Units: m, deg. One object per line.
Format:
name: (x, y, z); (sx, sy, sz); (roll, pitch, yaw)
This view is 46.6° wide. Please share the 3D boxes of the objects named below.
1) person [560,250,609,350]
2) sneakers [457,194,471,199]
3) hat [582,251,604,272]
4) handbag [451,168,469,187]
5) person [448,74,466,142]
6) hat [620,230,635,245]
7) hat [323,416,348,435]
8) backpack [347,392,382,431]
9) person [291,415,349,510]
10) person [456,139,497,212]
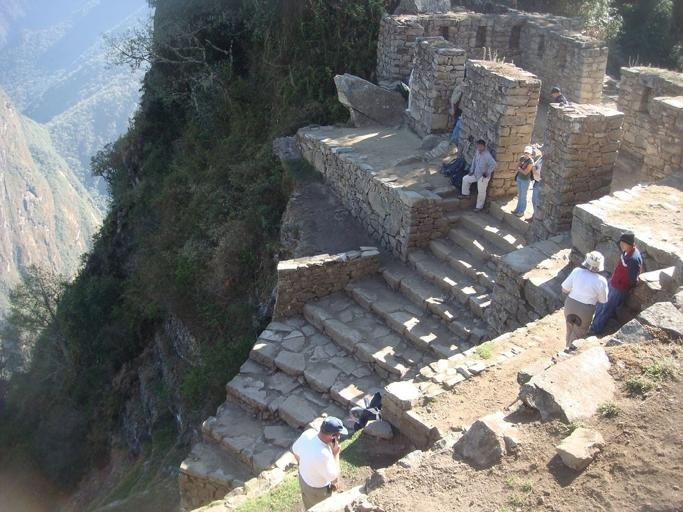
person: (4.964, 0.865, 16.324); (1.013, 1.804, 0.750); (-25, 40, -25)
sneakers: (3.189, -1.591, 20.594); (0.260, 0.124, 0.122); (6, 38, 5)
hat: (5.132, 0.103, 16.123); (0.419, 0.392, 0.264); (-3, 36, 3)
handbag: (3.087, -2.102, 20.842); (0.439, 0.149, 0.420); (-57, 35, 1)
person: (3.230, -4.073, 22.229); (0.502, 1.546, 1.066); (7, 9, 14)
hat: (5.789, -0.386, 16.041); (0.238, 0.255, 0.252); (8, 17, 21)
hat: (-0.153, 3.270, 15.307); (0.460, 0.265, 0.334); (-3, 19, -22)
backpack: (0.533, 3.314, 16.928); (0.770, 0.300, 0.702); (-46, 9, 7)
person: (-0.423, 4.079, 15.474); (0.966, 1.873, 0.886); (-10, 36, -7)
person: (3.494, -2.128, 20.219); (0.843, 1.854, 0.549); (2, 36, 10)
